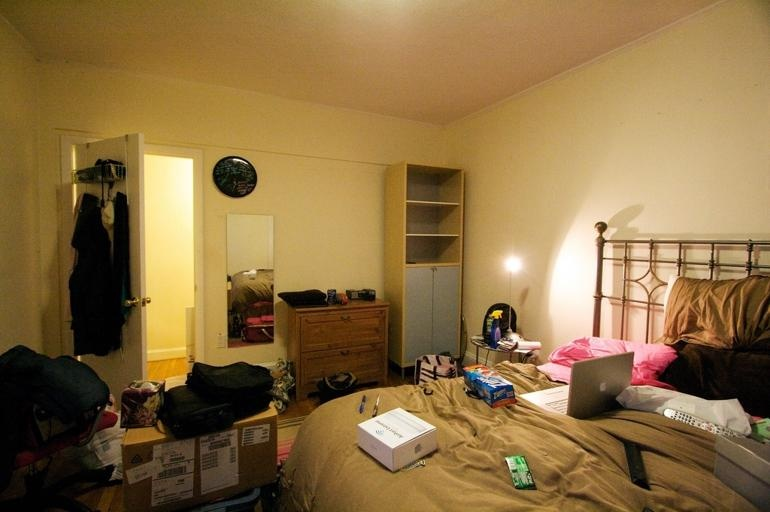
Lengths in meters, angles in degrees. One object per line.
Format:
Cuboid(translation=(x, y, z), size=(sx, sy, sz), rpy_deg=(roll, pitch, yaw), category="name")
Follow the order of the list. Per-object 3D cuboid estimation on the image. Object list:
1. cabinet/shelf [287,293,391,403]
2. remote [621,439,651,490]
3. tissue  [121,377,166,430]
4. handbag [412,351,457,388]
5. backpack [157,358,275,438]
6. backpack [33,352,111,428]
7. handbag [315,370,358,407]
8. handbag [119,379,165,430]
Cuboid(translation=(-0.596, 0.810, 5.777), size=(1.461, 1.274, 0.824), rpy_deg=(-1, -1, -24), category="cabinet/shelf")
Cuboid(translation=(1.616, 1.317, 3.435), size=(0.131, 0.289, 0.222), rpy_deg=(-1, -1, 17), category="remote")
Cuboid(translation=(-1.749, 1.042, 3.889), size=(0.328, 0.272, 0.318), rpy_deg=(1, -2, -27), category="tissue ")
Cuboid(translation=(0.496, 1.105, 5.250), size=(0.361, 0.257, 0.270), rpy_deg=(-2, 2, -26), category="handbag")
Cuboid(translation=(-1.240, 1.051, 3.957), size=(0.627, 0.238, 0.510), rpy_deg=(-3, 9, -42), category="backpack")
Cuboid(translation=(-2.215, 0.959, 3.785), size=(0.382, 0.490, 0.299), rpy_deg=(-1, 0, 6), category="backpack")
Cuboid(translation=(-0.470, 1.242, 5.162), size=(0.338, 0.289, 0.254), rpy_deg=(-7, 9, -17), category="handbag")
Cuboid(translation=(-1.786, 1.073, 3.979), size=(0.336, 0.293, 0.322), rpy_deg=(1, -2, -27), category="handbag")
